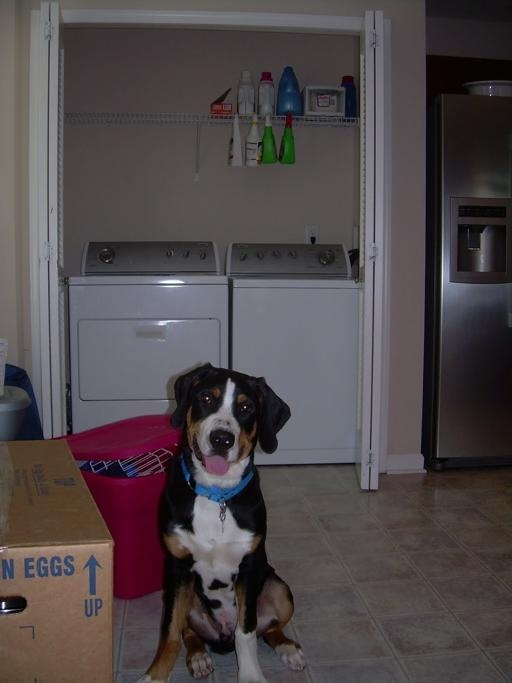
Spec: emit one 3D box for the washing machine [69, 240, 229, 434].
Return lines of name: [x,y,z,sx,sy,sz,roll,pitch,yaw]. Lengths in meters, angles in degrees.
washing machine: [-0.510,0.019,2.796,0.624,1.021,0.545,-2,1,0]

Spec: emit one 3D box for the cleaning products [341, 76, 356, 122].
cleaning products: [0.485,-1.265,3.000,0.077,0.208,0.079,-18,25,-28]

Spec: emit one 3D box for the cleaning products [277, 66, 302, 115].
cleaning products: [0.167,-1.289,2.959,0.116,0.238,0.119,-4,6,-35]

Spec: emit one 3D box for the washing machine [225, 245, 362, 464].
washing machine: [0.184,0.072,2.903,0.631,1.143,0.640,-2,7,-9]

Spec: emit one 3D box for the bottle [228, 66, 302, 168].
bottle: [0.030,-1.188,3.003,0.343,0.574,0.158,1,3,3]

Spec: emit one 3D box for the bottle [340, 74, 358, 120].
bottle: [0.486,-1.279,2.996,0.098,0.201,0.098,-6,38,5]
